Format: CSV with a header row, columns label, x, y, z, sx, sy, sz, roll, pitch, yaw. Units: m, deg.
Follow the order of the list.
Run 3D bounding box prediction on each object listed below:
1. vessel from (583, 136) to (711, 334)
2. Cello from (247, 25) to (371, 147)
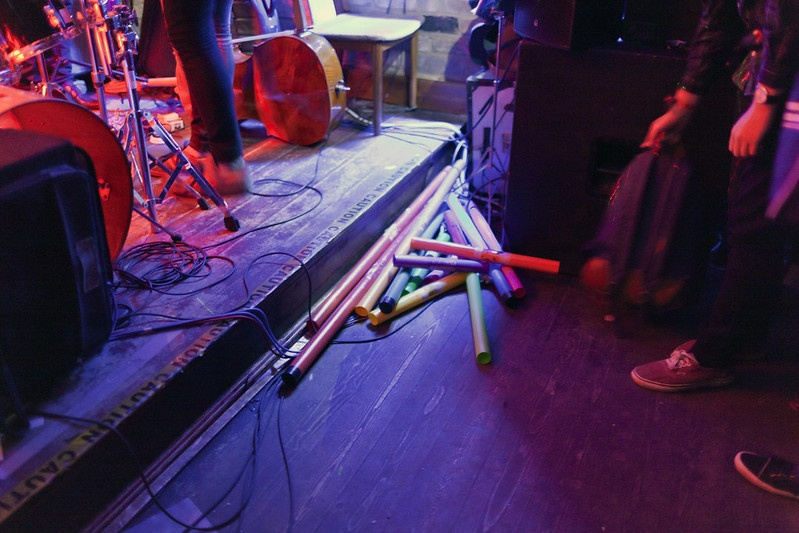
label,x,y,z,sx,sy,sz,roll,pitch,yaw
vessel,1.004,-0.121,2.151,0.488,0.682,0.249,4,30,6
Cello,-0.582,-1.009,3.124,0.519,0.591,0.193,11,31,17
